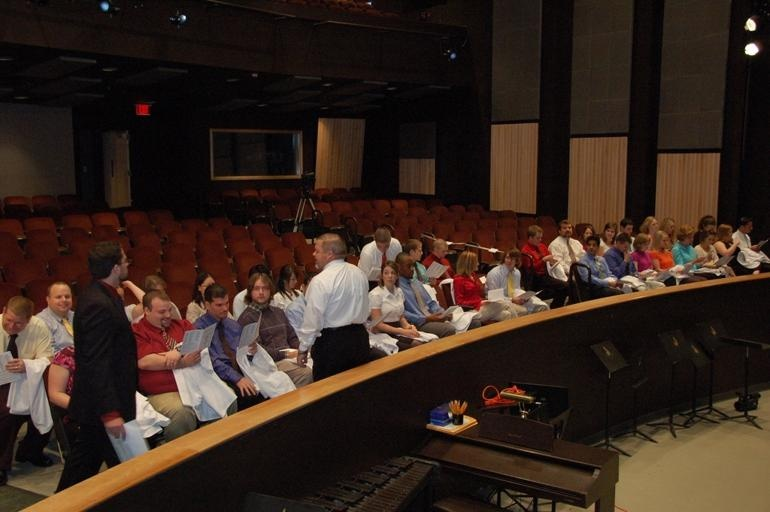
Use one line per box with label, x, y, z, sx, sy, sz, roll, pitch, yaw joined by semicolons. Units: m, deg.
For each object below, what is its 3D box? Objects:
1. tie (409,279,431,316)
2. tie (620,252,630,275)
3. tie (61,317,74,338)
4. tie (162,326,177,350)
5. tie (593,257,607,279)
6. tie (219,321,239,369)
tie;0.406;0.492;6.718;0.129;0.655;0.036;-26;34;-14
tie;3.654;0.126;8.700;0.092;0.261;0.179;5;2;1
tie;-2.937;0.663;5.287;0.098;0.254;0.008;-5;-31;-46
tie;-1.810;0.687;4.806;0.105;0.168;0.112;-9;8;-44
tie;3.168;0.197;8.564;0.218;0.318;0.103;-1;-10;-38
tie;-1.368;0.785;4.995;0.283;0.396;0.114;2;8;44
